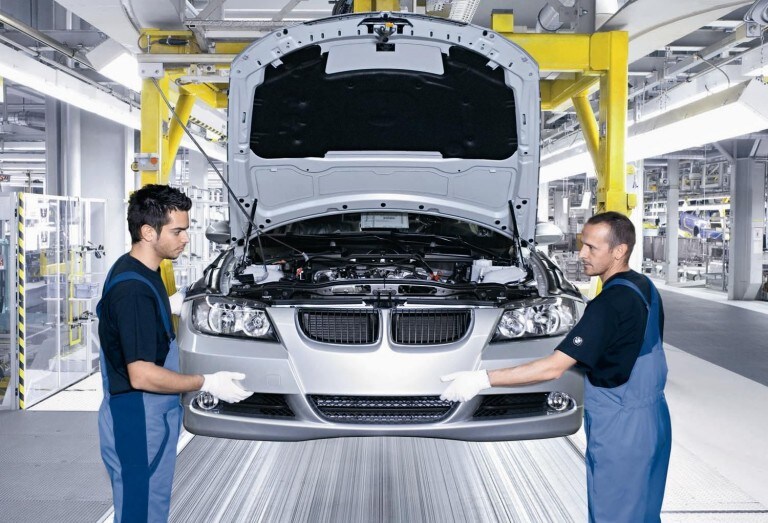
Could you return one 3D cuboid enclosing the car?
[{"bbox_3d":[-0.108,-0.627,5.661,2.712,2.926,3.796,0,15,-3],"label":"car"}]

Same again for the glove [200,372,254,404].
[{"bbox_3d":[-1.061,0.846,3.915,0.313,0.259,0.085,30,-27,-19],"label":"glove"}]
